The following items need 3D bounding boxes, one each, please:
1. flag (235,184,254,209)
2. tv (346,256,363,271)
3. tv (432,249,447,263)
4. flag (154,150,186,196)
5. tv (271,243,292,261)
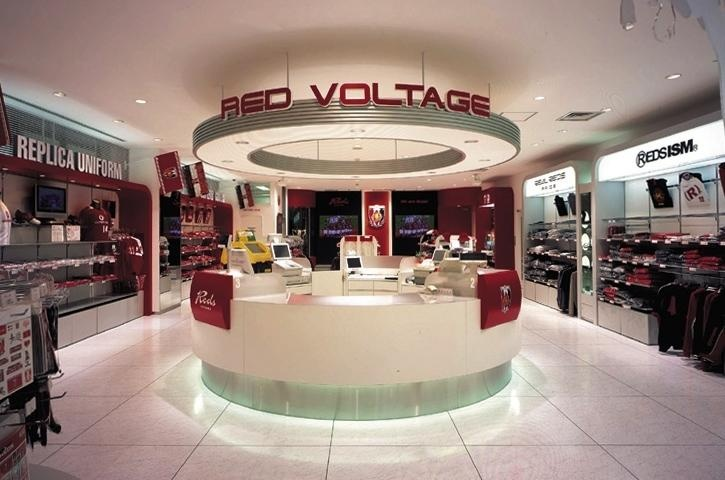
[{"bbox_3d":[-4.307,-1.602,15.711,0.440,0.772,0.797,-6,8,-7],"label":"flag"},{"bbox_3d":[-0.194,0.543,9.801,0.308,0.354,0.039,2,-27,-26],"label":"tv"},{"bbox_3d":[1.662,0.345,9.277,0.332,0.221,0.529,1,10,9],"label":"tv"},{"bbox_3d":[-4.127,-1.500,9.442,0.887,0.939,0.244,-18,5,26],"label":"flag"},{"bbox_3d":[-1.637,0.218,8.657,0.363,0.279,0.472,-4,10,-19],"label":"tv"}]
